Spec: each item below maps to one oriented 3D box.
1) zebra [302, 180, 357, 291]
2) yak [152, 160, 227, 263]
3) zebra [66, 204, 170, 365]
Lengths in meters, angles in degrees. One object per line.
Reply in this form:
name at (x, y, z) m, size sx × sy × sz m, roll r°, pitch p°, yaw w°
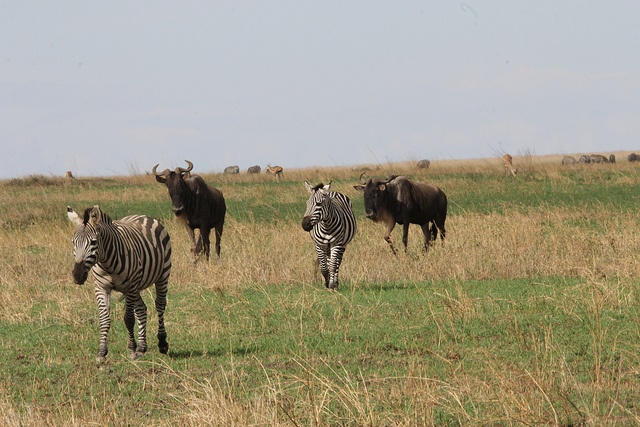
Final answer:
zebra at (0.269, 0.505, 22.888) m, size 1.151 × 2.638 × 3.802 m, roll -1°, pitch 3°, yaw 10°
yak at (-3.474, 0.115, 25.206) m, size 1.059 × 2.704 × 3.761 m, roll -9°, pitch -22°, yaw 17°
zebra at (-4.025, 1.357, 19.232) m, size 1.124 × 3.248 × 4.246 m, roll -2°, pitch -1°, yaw 11°
